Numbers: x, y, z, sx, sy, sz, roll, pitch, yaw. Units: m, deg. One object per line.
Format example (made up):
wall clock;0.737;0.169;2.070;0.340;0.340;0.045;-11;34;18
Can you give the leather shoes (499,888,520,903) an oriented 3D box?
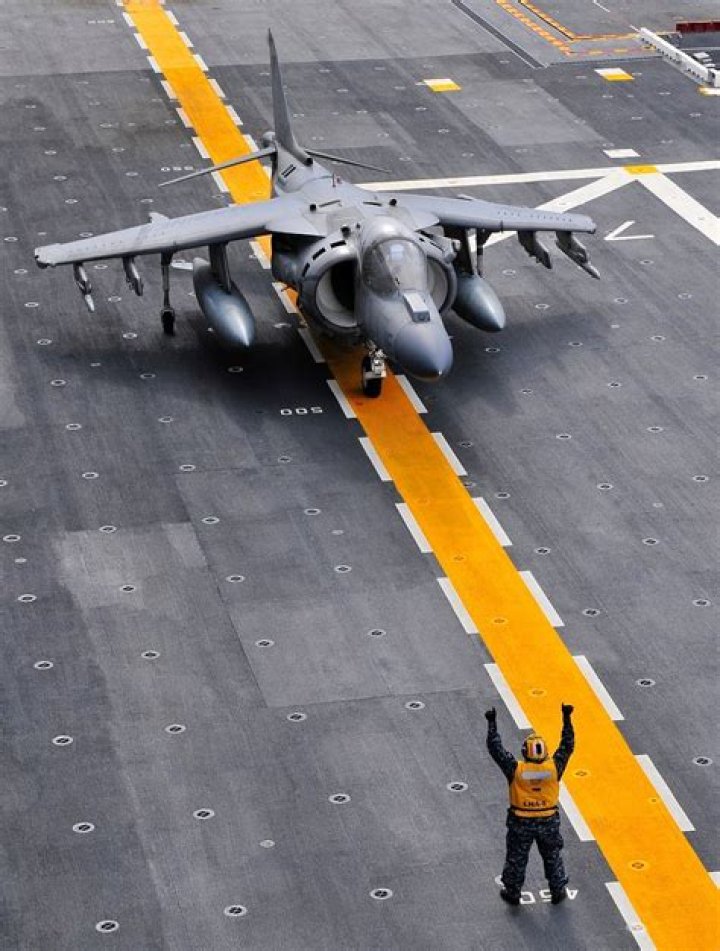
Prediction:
leather shoes;1.895;5.294;14.511;0.113;0.184;0.227;-29;51;-29

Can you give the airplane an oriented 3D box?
airplane;-0.554;-5.661;29.595;11.184;3.410;9.313;-8;33;-20

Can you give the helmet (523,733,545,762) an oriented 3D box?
helmet;2.057;3.222;13.590;0.290;0.245;0.271;1;24;1
